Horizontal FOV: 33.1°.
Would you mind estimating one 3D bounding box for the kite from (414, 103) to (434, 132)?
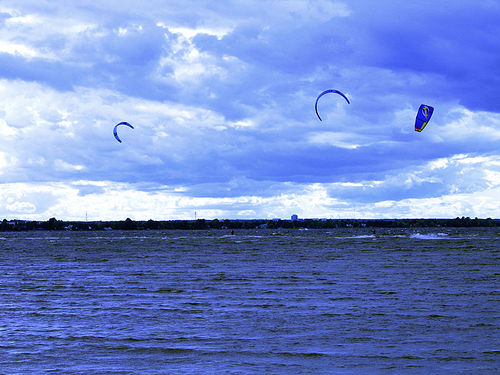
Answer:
[{"bbox_3d":[12.960,-5.207,63.138,1.128,1.886,1.290,2,11,14],"label":"kite"}]
